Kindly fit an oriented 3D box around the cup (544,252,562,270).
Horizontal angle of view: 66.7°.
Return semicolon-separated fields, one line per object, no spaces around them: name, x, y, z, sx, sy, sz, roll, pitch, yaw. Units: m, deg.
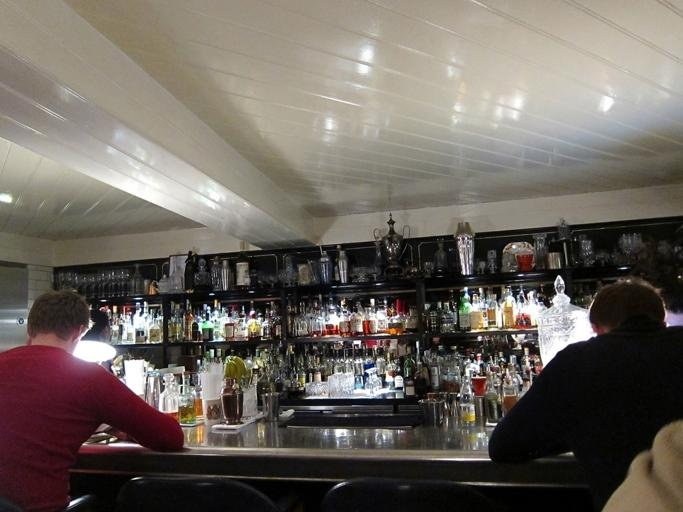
cup;1.912;0.054;4.695;0.129;0.159;0.137;1;-15;0

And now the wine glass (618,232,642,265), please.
wine glass;2.641;-0.063;4.695;0.218;0.291;0.179;-4;-9;12

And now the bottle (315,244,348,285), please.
bottle;-0.089;0.104;5.265;0.337;0.481;0.178;0;-18;-5

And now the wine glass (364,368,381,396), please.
wine glass;0.304;1.173;4.843;0.132;0.238;0.305;-3;-10;4

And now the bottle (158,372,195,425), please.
bottle;-1.029;0.897;3.234;0.272;0.412;0.151;0;-10;-3

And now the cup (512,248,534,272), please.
cup;1.672;0.044;4.855;0.173;0.210;0.182;1;-13;0

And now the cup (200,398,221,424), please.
cup;-0.821;0.991;3.323;0.125;0.148;0.085;1;-9;-16

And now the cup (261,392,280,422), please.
cup;-0.455;0.981;3.377;0.107;0.171;0.160;-1;-10;-8

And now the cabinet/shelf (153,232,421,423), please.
cabinet/shelf;-0.512;0.956;5.003;2.179;1.378;0.593;-1;3;-4

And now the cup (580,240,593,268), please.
cup;2.257;-0.033;4.778;0.116;0.283;0.131;-6;-10;27

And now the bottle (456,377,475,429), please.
bottle;0.756;0.871;3.146;0.104;0.255;0.399;-4;-10;13
